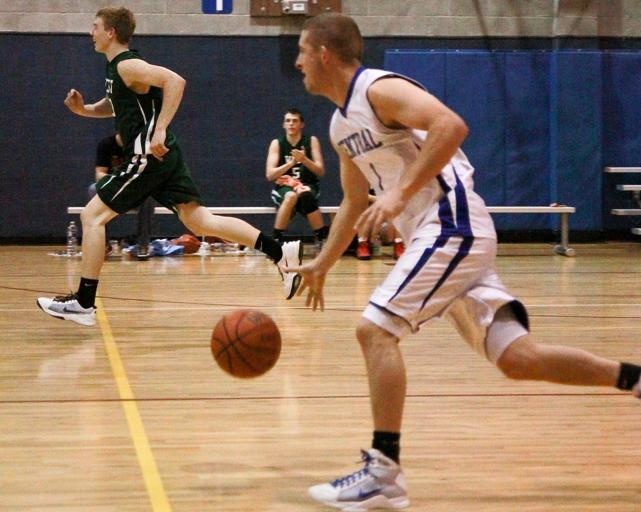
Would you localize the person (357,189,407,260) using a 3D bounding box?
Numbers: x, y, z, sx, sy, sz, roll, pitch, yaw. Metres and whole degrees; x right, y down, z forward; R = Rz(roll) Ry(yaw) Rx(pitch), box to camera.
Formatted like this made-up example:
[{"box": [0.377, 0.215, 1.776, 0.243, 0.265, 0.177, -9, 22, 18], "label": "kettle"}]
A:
[{"box": [0.557, -0.308, 9.198, 0.574, 0.680, 0.233, -1, 1, -6], "label": "person"}]

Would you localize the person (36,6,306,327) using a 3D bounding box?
[{"box": [-0.967, -0.540, 5.535, 1.400, 1.837, 0.747, 0, 15, -2], "label": "person"}]

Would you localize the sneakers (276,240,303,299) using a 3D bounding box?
[{"box": [-0.183, 0.063, 5.724, 0.215, 0.414, 0.151, 3, 2, -2], "label": "sneakers"}]

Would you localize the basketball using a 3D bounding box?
[{"box": [-0.327, 0.400, 4.083, 0.292, 0.306, 0.169, 0, 14, -1], "label": "basketball"}]
